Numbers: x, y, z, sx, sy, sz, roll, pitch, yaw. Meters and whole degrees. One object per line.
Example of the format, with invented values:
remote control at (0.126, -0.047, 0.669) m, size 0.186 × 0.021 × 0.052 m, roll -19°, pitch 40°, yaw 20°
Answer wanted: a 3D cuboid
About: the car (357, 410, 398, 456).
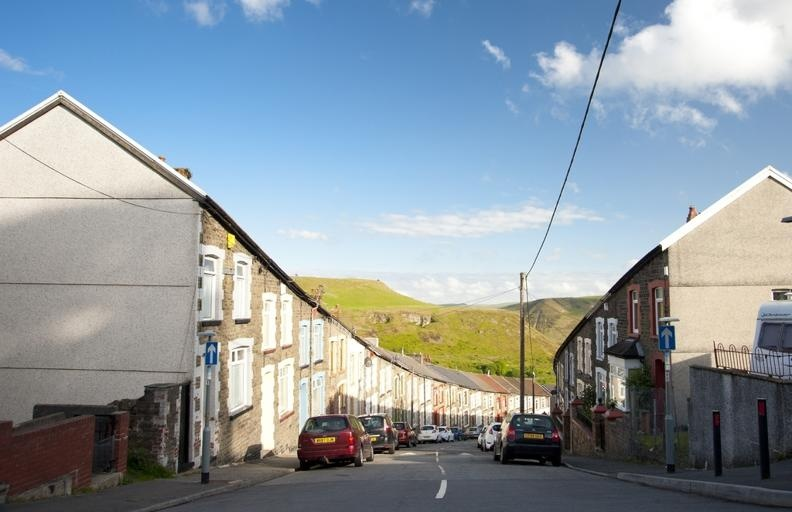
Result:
car at (-0.873, 9.032, 31.859) m, size 1.482 × 1.334 × 3.018 m, roll -2°, pitch -9°, yaw 6°
